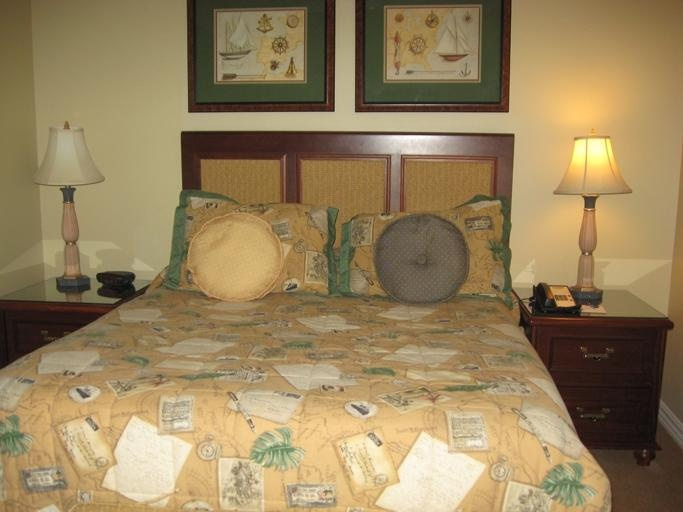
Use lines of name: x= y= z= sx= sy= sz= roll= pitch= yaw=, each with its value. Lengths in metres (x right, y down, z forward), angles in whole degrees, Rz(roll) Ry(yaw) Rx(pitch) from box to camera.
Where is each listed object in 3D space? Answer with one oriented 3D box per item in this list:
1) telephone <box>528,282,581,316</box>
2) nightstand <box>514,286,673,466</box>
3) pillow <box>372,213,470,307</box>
telephone: x=1.080 y=0.192 z=2.727 sx=0.091 sy=0.218 sz=0.184 roll=-39 pitch=39 yaw=-26
nightstand: x=1.053 y=0.593 z=2.971 sx=0.913 sy=0.830 sz=0.750 roll=0 pitch=11 yaw=11
pillow: x=0.374 y=0.015 z=2.717 sx=0.565 sy=0.448 sz=0.124 roll=18 pitch=-9 yaw=-30
